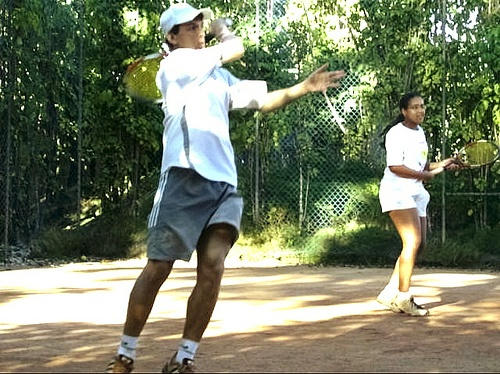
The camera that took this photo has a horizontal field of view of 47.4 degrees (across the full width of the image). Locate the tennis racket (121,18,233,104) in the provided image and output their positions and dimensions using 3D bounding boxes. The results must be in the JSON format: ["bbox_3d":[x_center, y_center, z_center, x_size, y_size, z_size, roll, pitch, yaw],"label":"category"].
[{"bbox_3d":[-0.555,-0.945,4.507,0.188,0.903,0.545,47,3,-34],"label":"tennis racket"}]

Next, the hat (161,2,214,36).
[{"bbox_3d":[-0.457,-1.168,3.975,0.300,0.169,0.233,-33,9,23],"label":"hat"}]

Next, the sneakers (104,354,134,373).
[{"bbox_3d":[-0.843,1.162,3.683,0.100,0.154,0.152,32,-15,5],"label":"sneakers"}]

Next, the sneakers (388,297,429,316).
[{"bbox_3d":[1.508,1.153,5.496,0.385,0.184,0.139,5,3,14],"label":"sneakers"}]

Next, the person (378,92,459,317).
[{"bbox_3d":[1.611,0.137,5.742,0.640,2.219,0.635,0,-4,18],"label":"person"}]

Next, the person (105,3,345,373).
[{"bbox_3d":[-0.305,0.054,3.853,1.180,2.332,0.428,3,-4,-22],"label":"person"}]
